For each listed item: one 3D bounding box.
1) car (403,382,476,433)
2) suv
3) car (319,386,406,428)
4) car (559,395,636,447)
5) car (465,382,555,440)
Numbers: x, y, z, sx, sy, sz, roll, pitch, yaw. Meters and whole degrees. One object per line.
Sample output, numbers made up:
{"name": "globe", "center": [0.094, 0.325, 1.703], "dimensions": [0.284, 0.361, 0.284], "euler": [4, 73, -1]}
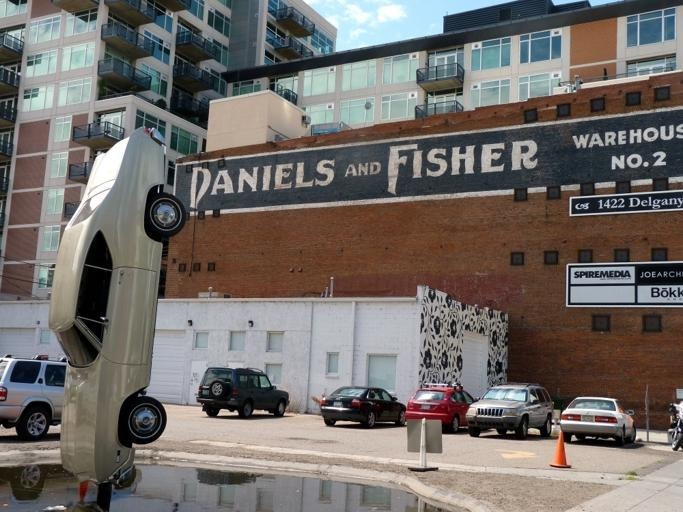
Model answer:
{"name": "car", "center": [4.087, 6.317, 34.789], "dimensions": [1.856, 1.597, 4.175], "euler": [-3, -6, 29]}
{"name": "suv", "center": [-4.285, 6.329, 38.428], "dimensions": [1.760, 1.908, 4.854], "euler": [3, 1, 43]}
{"name": "car", "center": [1.204, 6.612, 36.314], "dimensions": [1.591, 1.171, 3.606], "euler": [-5, -9, 32]}
{"name": "car", "center": [10.066, 6.476, 32.217], "dimensions": [2.761, 1.832, 2.552], "euler": [3, 1, 14]}
{"name": "car", "center": [7.010, 6.386, 33.581], "dimensions": [3.849, 2.094, 1.979], "euler": [2, 1, -43]}
